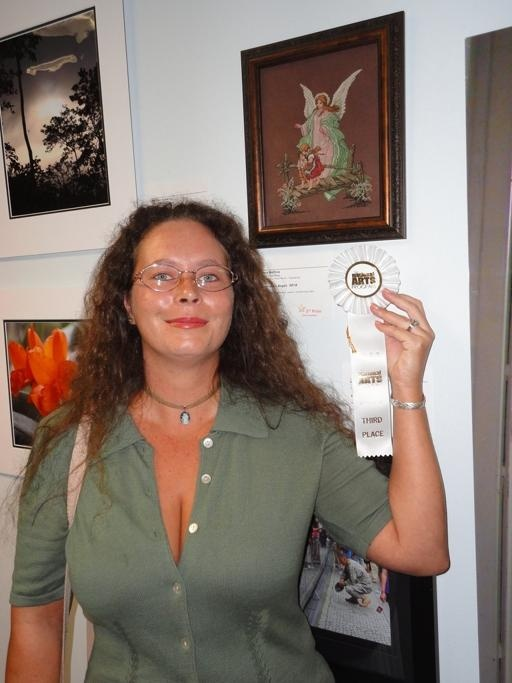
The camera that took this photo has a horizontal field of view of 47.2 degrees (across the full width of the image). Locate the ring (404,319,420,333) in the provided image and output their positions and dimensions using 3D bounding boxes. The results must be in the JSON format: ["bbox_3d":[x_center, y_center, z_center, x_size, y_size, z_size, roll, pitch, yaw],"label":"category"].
[{"bbox_3d":[0.286,-0.028,1.072,0.023,0.024,0.016,-28,41,-30],"label":"ring"}]

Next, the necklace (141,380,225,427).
[{"bbox_3d":[-0.146,0.115,1.201,0.099,0.029,0.117,12,38,18],"label":"necklace"}]

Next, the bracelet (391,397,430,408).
[{"bbox_3d":[0.282,0.115,1.080,0.057,0.018,0.028,-3,12,4],"label":"bracelet"}]
